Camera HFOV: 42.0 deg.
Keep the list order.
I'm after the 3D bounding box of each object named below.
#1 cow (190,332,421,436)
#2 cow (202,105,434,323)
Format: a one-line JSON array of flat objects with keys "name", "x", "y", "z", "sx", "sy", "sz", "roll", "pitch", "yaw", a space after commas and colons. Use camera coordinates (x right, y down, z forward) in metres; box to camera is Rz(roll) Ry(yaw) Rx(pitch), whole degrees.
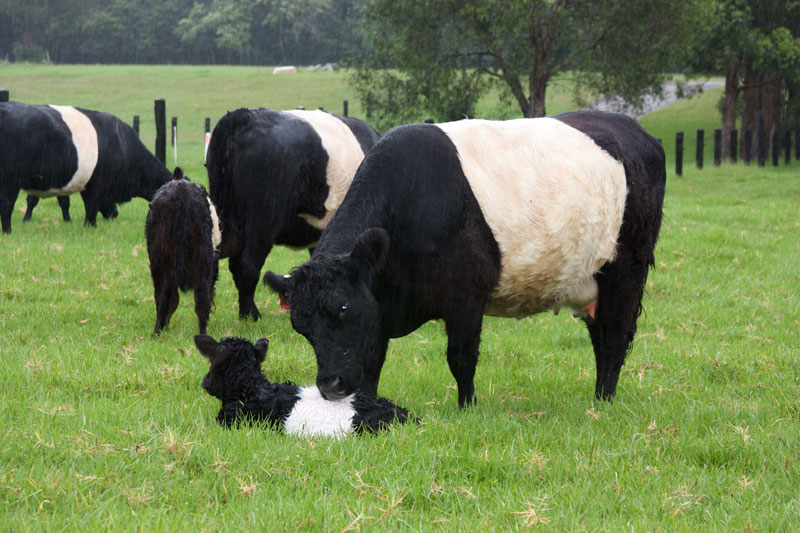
[{"name": "cow", "x": -1.187, "y": 1.591, "z": 14.916, "sx": 3.081, "sy": 1.788, "sz": 1.337, "roll": 6, "pitch": -2, "yaw": 5}, {"name": "cow", "x": -1.525, "y": -1.126, "z": 18.993, "sx": 1.965, "sy": 3.577, "sz": 4.501, "roll": 11, "pitch": 14, "yaw": 42}]
